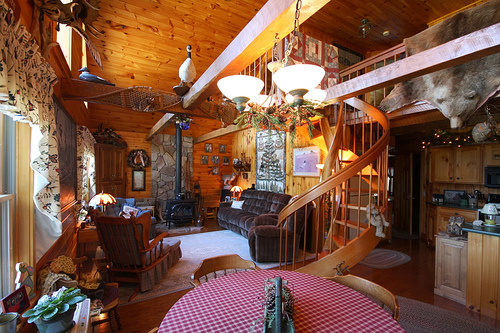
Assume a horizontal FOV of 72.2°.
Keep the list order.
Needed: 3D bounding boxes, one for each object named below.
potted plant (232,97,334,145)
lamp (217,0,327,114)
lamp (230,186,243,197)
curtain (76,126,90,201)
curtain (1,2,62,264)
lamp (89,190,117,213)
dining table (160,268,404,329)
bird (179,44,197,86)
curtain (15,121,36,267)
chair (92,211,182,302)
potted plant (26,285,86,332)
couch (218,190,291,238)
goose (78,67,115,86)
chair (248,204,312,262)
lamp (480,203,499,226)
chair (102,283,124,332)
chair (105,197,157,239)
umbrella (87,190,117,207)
[{"bbox_3d":[0.597,-0.696,5.284,1.010,0.419,0.999,3,4,6],"label":"potted plant"},{"bbox_3d":[0.297,-1.108,4.303,1.212,1.373,1.224,3,-3,-27],"label":"lamp"},{"bbox_3d":[-0.408,0.672,9.840,0.211,0.218,0.208,-1,4,-41],"label":"lamp"},{"bbox_3d":[-3.144,-0.063,6.451,0.214,1.320,1.224,-2,0,-25],"label":"curtain"},{"bbox_3d":[-2.444,-0.262,3.856,0.379,3.130,0.812,-2,1,-16],"label":"curtain"},{"bbox_3d":[-2.502,0.569,5.813,0.373,0.383,0.375,1,5,-6],"label":"lamp"},{"bbox_3d":[0.260,1.399,3.795,2.366,0.438,0.749,-2,0,-3],"label":"dining table"},{"bbox_3d":[-0.936,-1.537,5.189,0.296,0.595,0.253,4,-1,-17],"label":"bird"},{"bbox_3d":[-2.705,0.228,4.034,0.068,1.689,0.353,3,-12,-43],"label":"curtain"},{"bbox_3d":[-1.779,1.272,5.269,0.856,1.210,1.458,1,5,13],"label":"chair"},{"bbox_3d":[-2.057,1.517,3.603,0.477,0.264,0.474,7,-13,-31],"label":"potted plant"},{"bbox_3d":[0.022,1.088,8.243,1.018,0.763,2.124,-2,0,-27],"label":"couch"},{"bbox_3d":[-2.233,-1.311,5.016,0.490,0.225,0.249,9,2,-32],"label":"goose"},{"bbox_3d":[0.533,1.226,6.831,1.247,1.144,1.068,-5,6,-16],"label":"chair"},{"bbox_3d":[3.738,0.752,5.329,0.203,0.321,0.273,-1,1,31],"label":"lamp"},{"bbox_3d":[-1.852,1.928,4.609,0.225,0.611,0.482,-2,1,-22],"label":"chair"},{"bbox_3d":[-2.363,1.086,7.366,0.678,0.652,0.688,21,-24,-31],"label":"chair"},{"bbox_3d":[-2.473,0.554,5.741,0.308,0.176,0.312,1,0,42],"label":"umbrella"}]
